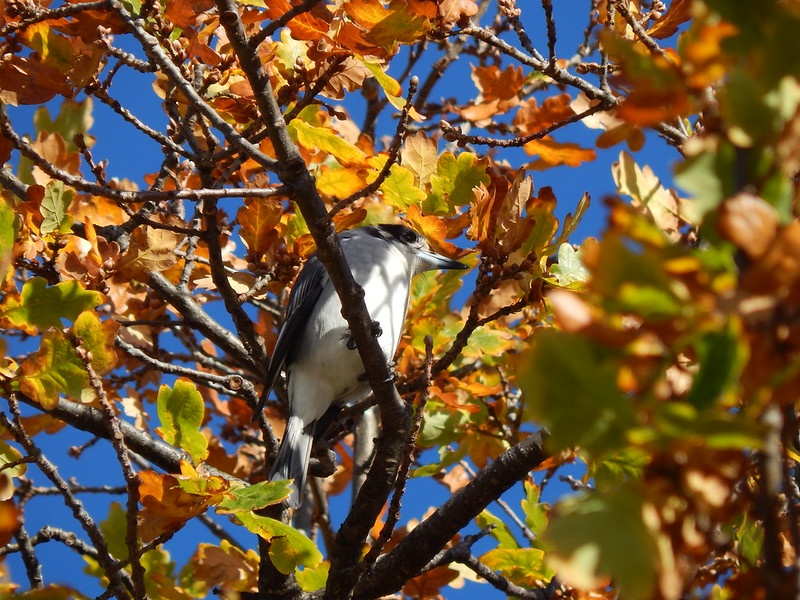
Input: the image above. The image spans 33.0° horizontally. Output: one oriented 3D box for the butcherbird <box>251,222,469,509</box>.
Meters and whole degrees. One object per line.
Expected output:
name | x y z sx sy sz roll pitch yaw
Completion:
butcherbird | -0.321 0.110 7.097 0.614 1.434 1.377 13 -20 -34
